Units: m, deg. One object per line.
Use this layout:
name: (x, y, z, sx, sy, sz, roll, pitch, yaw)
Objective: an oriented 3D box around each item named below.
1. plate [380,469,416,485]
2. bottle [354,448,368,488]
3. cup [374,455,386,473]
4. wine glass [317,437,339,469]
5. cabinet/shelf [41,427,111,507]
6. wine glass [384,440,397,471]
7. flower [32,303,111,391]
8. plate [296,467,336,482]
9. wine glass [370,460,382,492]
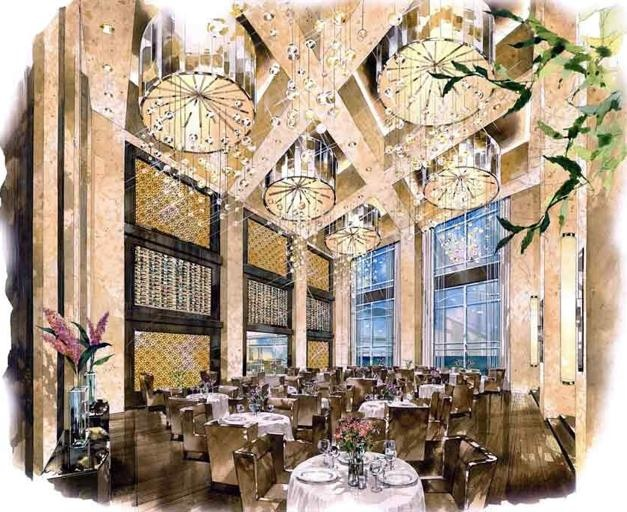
plate: (0.730, 1.889, 5.301, 0.299, 0.134, 0.296, -4, -18, 8)
bottle: (0.418, 1.794, 5.269, 0.082, 0.319, 0.248, -5, -16, 18)
cup: (0.567, 1.793, 5.368, 0.071, 0.135, 0.118, 5, -17, -19)
wine glass: (0.090, 1.768, 5.564, 0.158, 0.352, 0.214, -1, -12, -4)
cabinet/shelf: (-1.874, 1.681, 4.989, 0.489, 0.553, 0.972, 4, -19, -18)
wine glass: (0.678, 1.775, 5.555, 0.098, 0.245, 0.236, -2, -16, 6)
flower: (-2.087, 0.770, 5.555, 0.562, 0.666, 0.623, 19, 21, 4)
plate: (0.029, 1.874, 5.330, 0.333, 0.118, 0.272, -1, -18, -1)
wine glass: (0.515, 1.847, 5.242, 0.101, 0.248, 0.255, -2, -16, 5)
